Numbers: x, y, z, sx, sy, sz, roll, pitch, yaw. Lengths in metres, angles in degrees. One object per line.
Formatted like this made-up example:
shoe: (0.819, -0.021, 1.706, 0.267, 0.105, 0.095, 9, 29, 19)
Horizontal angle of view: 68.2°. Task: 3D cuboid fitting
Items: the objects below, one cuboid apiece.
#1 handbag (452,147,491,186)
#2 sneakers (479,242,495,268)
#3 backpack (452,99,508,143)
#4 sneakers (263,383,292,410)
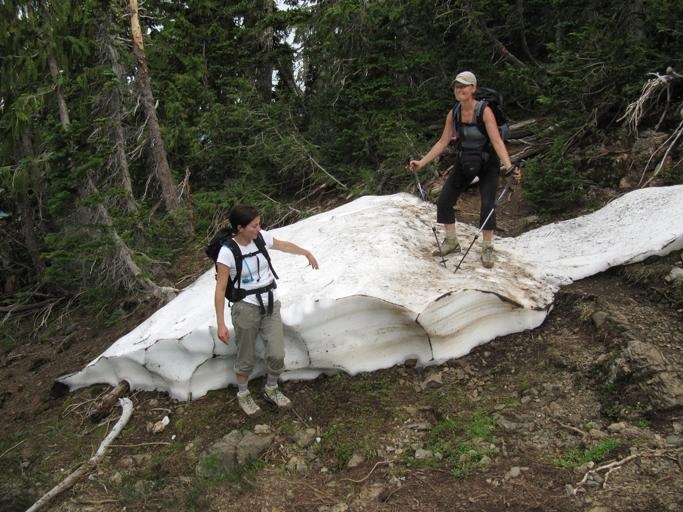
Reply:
handbag: (1.903, -1.286, 7.378, 0.528, 0.501, 0.395, 0, -4, -40)
sneakers: (2.196, 0.000, 7.570, 0.161, 0.183, 0.426, -5, 52, 14)
backpack: (2.040, -1.978, 7.246, 0.756, 0.676, 0.369, 1, 30, 5)
sneakers: (-0.873, 1.805, 6.774, 0.499, 0.231, 0.184, 21, 34, 20)
